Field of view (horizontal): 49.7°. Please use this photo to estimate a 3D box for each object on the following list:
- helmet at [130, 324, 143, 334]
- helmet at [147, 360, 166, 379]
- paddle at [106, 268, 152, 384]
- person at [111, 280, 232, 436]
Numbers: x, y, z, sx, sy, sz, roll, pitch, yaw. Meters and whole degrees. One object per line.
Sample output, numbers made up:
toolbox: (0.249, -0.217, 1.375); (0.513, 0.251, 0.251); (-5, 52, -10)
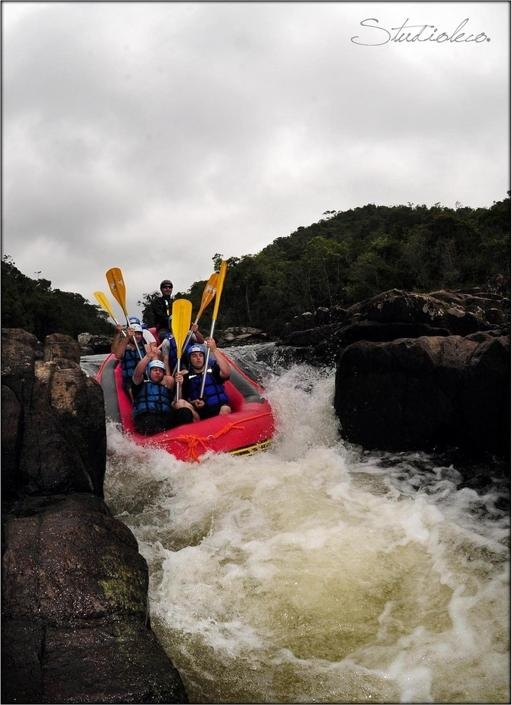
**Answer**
helmet: (-1.346, -0.264, 6.191); (0.083, 0.097, 0.108); (2, -34, -37)
helmet: (-1.001, 0.157, 5.560); (0.131, 0.138, 0.157); (16, -40, -31)
paddle: (-1.353, -0.135, 5.788); (0.209, 1.179, 0.172); (-17, -21, 8)
person: (-1.012, 0.162, 5.716); (1.049, 1.434, 0.512); (-10, -30, -18)
